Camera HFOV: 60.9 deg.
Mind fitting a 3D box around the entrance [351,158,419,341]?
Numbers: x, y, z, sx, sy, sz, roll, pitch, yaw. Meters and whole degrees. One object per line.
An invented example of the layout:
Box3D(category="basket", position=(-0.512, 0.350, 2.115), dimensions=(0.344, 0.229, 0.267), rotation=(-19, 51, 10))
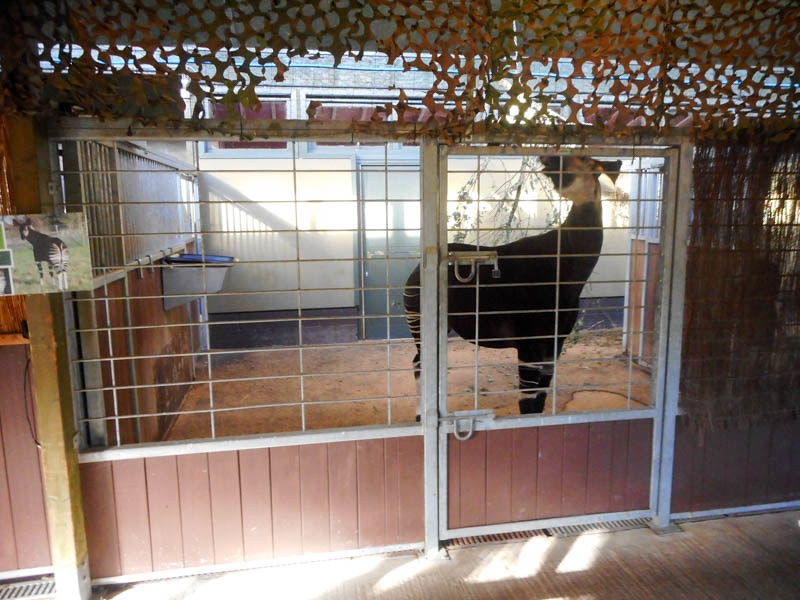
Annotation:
Box3D(category="entrance", position=(-0.097, -0.535, 7.063), dimensions=(0.714, 1.881, 0.309), rotation=(-2, 16, -13))

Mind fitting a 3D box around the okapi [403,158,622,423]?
Box3D(category="okapi", position=(0.580, -0.141, 4.072), dimensions=(1.072, 1.467, 1.045), rotation=(-2, 18, -29))
